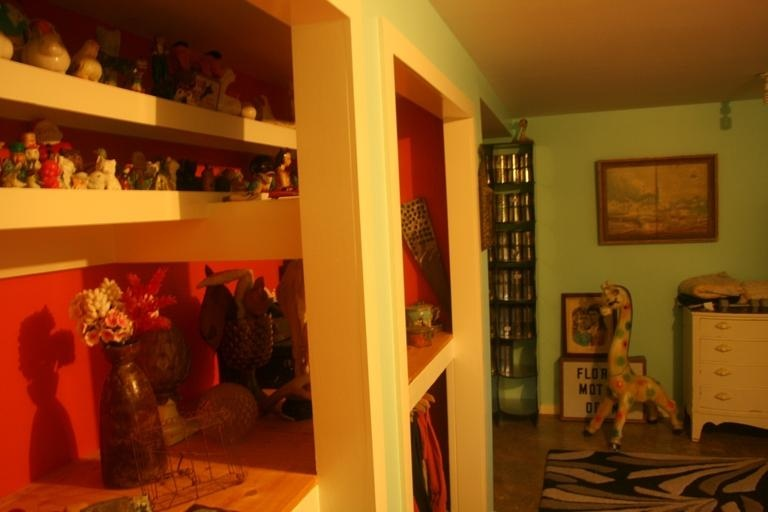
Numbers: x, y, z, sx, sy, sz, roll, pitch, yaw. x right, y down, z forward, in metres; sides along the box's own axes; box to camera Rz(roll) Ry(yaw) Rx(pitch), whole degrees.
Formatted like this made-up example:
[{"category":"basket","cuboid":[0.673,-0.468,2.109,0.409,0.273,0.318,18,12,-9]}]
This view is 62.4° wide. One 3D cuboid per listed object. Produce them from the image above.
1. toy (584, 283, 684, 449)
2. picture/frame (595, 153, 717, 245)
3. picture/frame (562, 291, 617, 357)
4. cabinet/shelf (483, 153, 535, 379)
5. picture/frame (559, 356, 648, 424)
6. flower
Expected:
[{"category":"toy","cuboid":[2.164,0.895,5.524,0.799,1.321,0.540,0,1,-24]},{"category":"picture/frame","cuboid":[2.518,-0.542,5.723,0.797,0.664,0.066,-1,0,12]},{"category":"picture/frame","cuboid":[1.895,0.627,5.764,0.604,0.865,0.056,0,-1,14]},{"category":"cabinet/shelf","cuboid":[1.268,0.033,5.886,0.540,2.262,0.684,0,8,22]},{"category":"picture/frame","cuboid":[1.970,1.157,5.592,0.656,0.570,0.236,0,-1,12]},{"category":"flower","cuboid":[-0.970,0.180,2.345,0.344,0.271,0.161,0,2,-28]}]
